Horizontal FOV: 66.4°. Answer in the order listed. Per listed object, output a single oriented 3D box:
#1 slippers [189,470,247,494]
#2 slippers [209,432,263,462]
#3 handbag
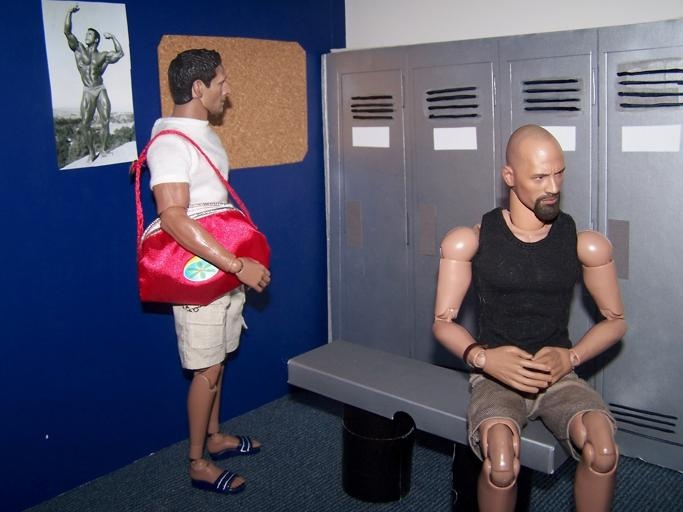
[{"bbox_3d":[-0.631,1.129,2.662,0.216,0.073,0.116,2,3,13],"label":"slippers"},{"bbox_3d":[-0.590,1.054,2.926,0.244,0.087,0.116,-5,7,-22],"label":"slippers"},{"bbox_3d":[-0.652,0.012,2.453,0.616,0.460,0.262,-5,17,-11],"label":"handbag"}]
